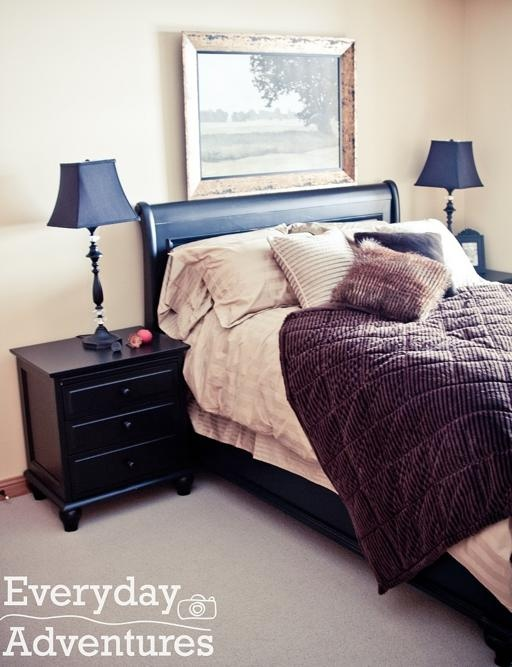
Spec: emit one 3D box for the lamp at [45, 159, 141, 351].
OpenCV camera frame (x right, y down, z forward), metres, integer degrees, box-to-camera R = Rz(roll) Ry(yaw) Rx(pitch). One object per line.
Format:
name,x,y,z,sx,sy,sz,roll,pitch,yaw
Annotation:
lamp,-0.670,-0.315,2.288,0.304,0.766,0.280,5,10,41

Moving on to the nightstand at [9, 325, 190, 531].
nightstand,-0.634,0.370,2.417,0.646,0.690,0.498,-7,9,-38

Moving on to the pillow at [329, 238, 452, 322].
pillow,0.507,-0.187,2.127,0.333,0.100,0.339,18,51,21

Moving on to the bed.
bed,0.352,0.111,2.376,1.150,1.017,1.631,-19,29,-35
